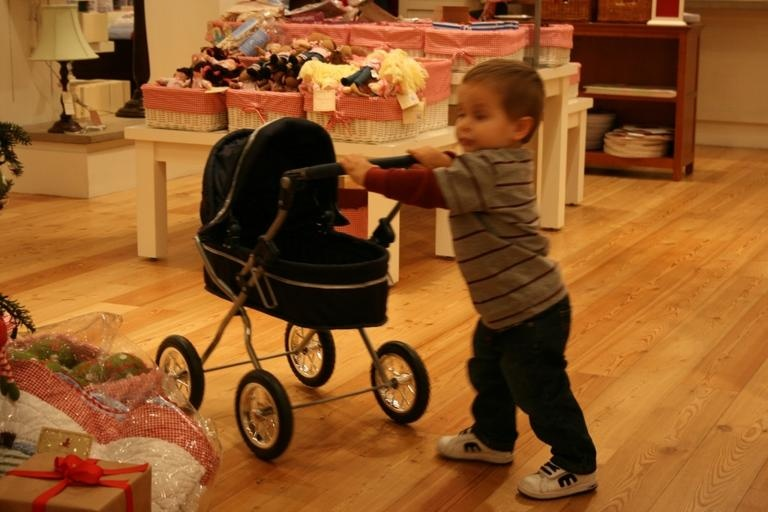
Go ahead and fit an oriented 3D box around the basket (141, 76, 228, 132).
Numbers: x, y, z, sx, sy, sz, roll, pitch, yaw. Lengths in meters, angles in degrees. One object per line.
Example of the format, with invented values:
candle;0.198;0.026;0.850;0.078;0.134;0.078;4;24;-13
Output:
basket;-1.194;-0.909;3.473;0.461;0.177;0.312;2;12;9

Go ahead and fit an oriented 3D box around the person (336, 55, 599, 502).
person;0.315;0.079;1.672;0.670;1.241;0.315;5;20;19

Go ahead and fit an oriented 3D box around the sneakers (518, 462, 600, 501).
sneakers;0.506;0.667;1.749;0.245;0.099;0.090;-1;16;-5

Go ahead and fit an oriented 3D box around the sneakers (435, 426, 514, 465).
sneakers;0.279;0.625;1.913;0.293;0.106;0.092;6;11;7

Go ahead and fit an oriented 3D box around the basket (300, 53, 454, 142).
basket;-0.033;-0.843;3.391;0.887;0.326;0.623;-18;12;-10

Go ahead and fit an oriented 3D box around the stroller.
stroller;-0.325;0.071;2.039;0.749;0.992;0.921;-3;11;-43

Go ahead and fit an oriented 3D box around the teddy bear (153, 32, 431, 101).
teddy bear;-0.457;-1.059;3.307;1.182;0.202;0.715;7;14;24

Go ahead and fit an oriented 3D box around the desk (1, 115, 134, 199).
desk;-2.657;-0.861;5.413;0.978;0.490;1.177;7;12;12
